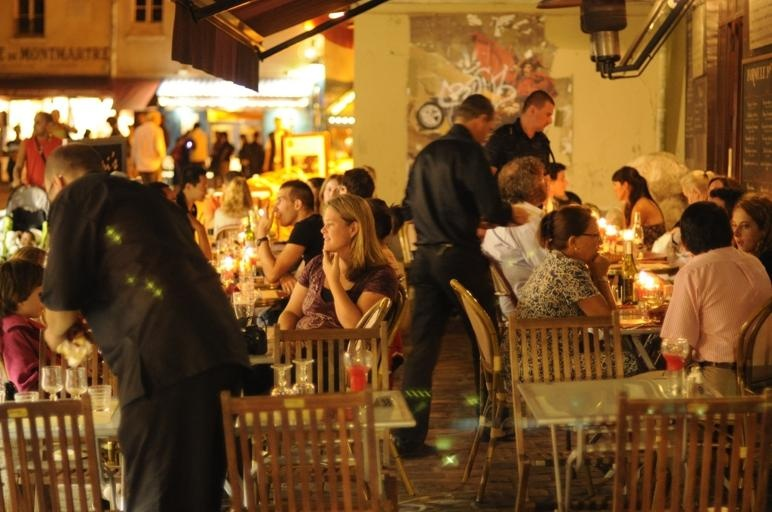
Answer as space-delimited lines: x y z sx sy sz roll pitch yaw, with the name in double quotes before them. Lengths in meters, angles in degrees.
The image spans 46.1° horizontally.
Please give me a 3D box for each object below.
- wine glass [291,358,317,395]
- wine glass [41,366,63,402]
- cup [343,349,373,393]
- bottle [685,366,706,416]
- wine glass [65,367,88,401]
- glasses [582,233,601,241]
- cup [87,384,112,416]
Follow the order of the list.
"wine glass" -0.482 0.714 5.336 0.124 0.217 0.133 -2 0 5
"wine glass" -1.996 0.752 5.412 0.144 0.187 0.113 -5 -4 36
"cup" -0.184 0.668 5.342 0.165 0.231 0.196 -4 -3 25
"bottle" 1.768 0.753 5.282 0.074 0.279 0.053 4 -12 -31
"wine glass" -1.839 0.758 5.420 0.120 0.198 0.124 -2 3 -34
"glasses" 1.409 -0.133 6.263 0.146 0.048 0.030 -1 -3 -33
"cup" -1.697 0.850 5.399 0.132 0.147 0.180 -2 -3 -19
